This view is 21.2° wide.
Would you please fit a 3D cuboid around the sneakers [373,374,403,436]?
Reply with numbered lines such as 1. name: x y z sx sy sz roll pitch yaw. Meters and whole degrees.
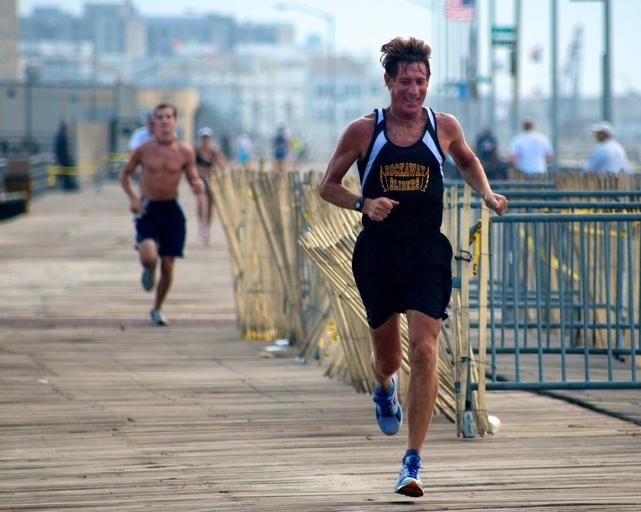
1. sneakers: 0.488 1.108 12.327 0.163 0.486 0.198 -9 0 19

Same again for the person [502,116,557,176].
1. person: 2.515 -1.311 20.568 0.605 0.768 0.376 -5 18 -3

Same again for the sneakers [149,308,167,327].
1. sneakers: -1.479 0.549 15.707 0.141 0.134 0.187 -1 12 -8

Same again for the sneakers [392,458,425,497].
1. sneakers: 0.591 1.481 11.492 0.176 0.246 0.155 1 11 2

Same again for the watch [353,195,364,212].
1. watch: 0.269 -0.361 11.729 0.066 0.100 0.093 21 7 5

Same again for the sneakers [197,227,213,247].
1. sneakers: -1.185 -0.202 17.573 0.056 0.232 0.120 -28 -42 19

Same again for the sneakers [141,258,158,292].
1. sneakers: -1.594 0.182 15.952 0.115 0.337 0.134 3 2 0

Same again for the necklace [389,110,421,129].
1. necklace: 0.580 -0.950 11.823 0.128 0.033 0.128 13 12 -45

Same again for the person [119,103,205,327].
1. person: -1.459 -0.417 15.788 0.755 2.034 0.712 -1 11 -7

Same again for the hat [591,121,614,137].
1. hat: 2.820 -1.312 17.205 0.192 0.099 0.141 17 4 5

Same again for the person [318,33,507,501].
1. person: 0.701 0.020 11.838 0.996 3.022 1.081 -6 13 -30
